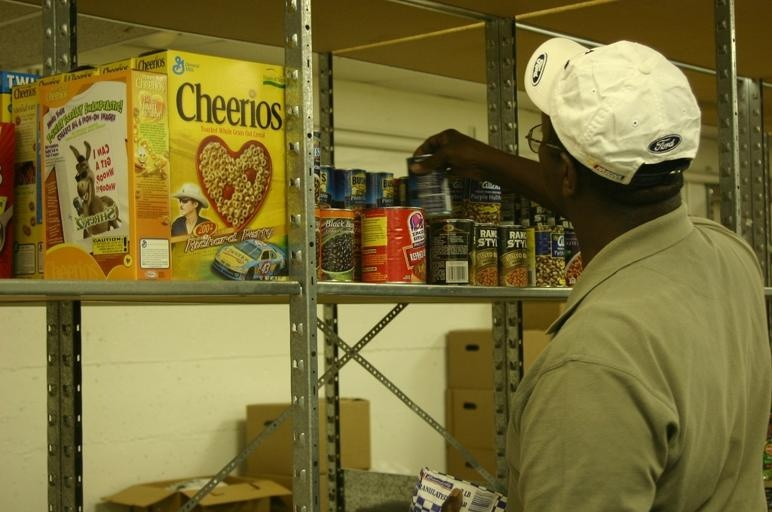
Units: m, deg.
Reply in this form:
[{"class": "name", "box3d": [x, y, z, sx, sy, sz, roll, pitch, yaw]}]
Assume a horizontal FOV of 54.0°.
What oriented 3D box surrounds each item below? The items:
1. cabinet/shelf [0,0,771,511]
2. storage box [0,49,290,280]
[{"class": "cabinet/shelf", "box3d": [-0.216, -0.153, 2.536, 1.434, 1.324, 1.381, 2, 2, 45]}, {"class": "storage box", "box3d": [-0.571, -0.227, 2.022, 0.370, 0.532, 0.655, 6, 7, 14]}]
